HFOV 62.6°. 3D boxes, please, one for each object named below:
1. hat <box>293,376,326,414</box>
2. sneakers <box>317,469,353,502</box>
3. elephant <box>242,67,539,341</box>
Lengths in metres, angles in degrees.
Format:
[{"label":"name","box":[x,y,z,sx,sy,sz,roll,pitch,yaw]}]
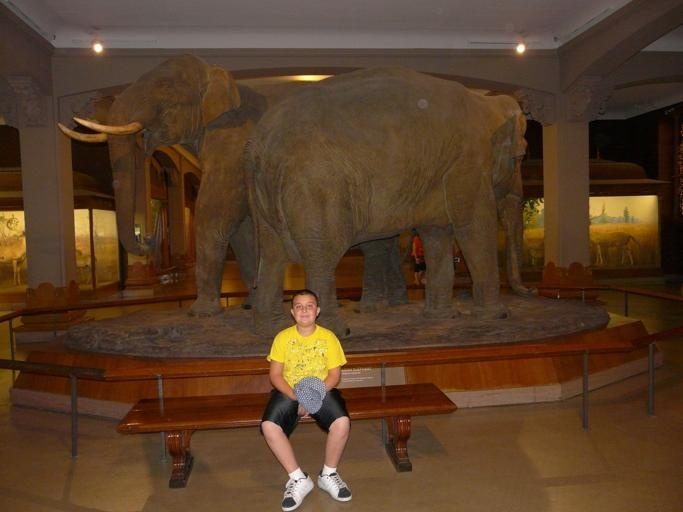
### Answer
[{"label":"hat","box":[-0.188,0.876,3.521,0.206,0.222,0.085,-3,13,-8]},{"label":"sneakers","box":[-0.040,1.433,3.522,0.103,0.113,0.259,1,-3,-34]},{"label":"elephant","box":[0.257,-0.785,6.190,3.095,2.778,1.628,-6,9,-29]}]
